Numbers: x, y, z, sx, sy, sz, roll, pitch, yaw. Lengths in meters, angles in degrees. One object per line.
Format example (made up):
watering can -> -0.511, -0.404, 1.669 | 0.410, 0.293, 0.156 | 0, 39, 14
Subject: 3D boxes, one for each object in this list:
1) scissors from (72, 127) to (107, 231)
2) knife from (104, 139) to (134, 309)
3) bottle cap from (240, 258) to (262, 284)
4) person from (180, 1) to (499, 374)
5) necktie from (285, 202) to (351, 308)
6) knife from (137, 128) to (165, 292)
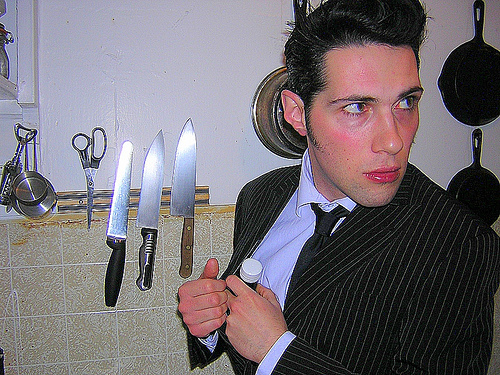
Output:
scissors -> -0.661, -0.041, 1.939 | 0.122, 0.448, 0.021 | 2, -2, -8
knife -> -0.539, 0.152, 1.954 | 0.071, 0.685, 0.134 | 4, 10, 1
bottle cap -> 0.007, 0.294, 1.653 | 0.067, 0.074, 0.042 | 30, -23, 10
person -> 0.359, 0.063, 1.665 | 1.041, 1.404, 0.524 | 9, 12, 22
necktie -> 0.258, 0.287, 1.821 | 0.181, 0.416, 0.029 | 20, -12, 31
knife -> -0.414, 0.072, 2.006 | 0.084, 0.730, 0.055 | 4, -2, 2
